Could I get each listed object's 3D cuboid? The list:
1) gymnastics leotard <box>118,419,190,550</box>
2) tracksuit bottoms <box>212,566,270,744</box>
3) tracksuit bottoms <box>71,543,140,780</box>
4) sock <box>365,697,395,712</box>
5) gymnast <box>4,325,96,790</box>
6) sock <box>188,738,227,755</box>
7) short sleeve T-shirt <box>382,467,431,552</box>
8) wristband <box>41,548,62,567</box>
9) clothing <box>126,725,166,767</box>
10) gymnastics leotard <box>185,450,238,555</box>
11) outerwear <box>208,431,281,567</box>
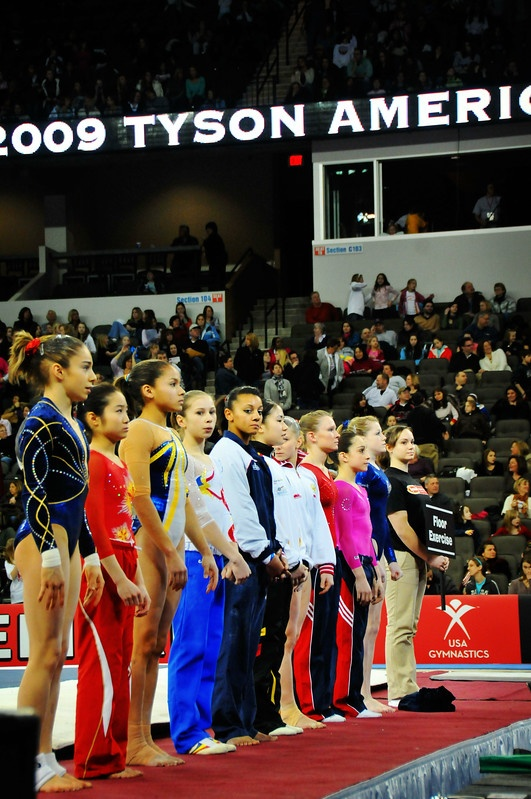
[{"bbox_3d":[-0.412,0.323,3.586,0.187,0.497,0.232,0,-10,14],"label":"gymnastics leotard"},{"bbox_3d":[-0.153,1.075,3.835,0.246,0.737,0.193,15,-23,-27],"label":"tracksuit bottoms"},{"bbox_3d":[-0.518,0.912,3.161,0.228,0.767,0.187,2,-21,-13],"label":"tracksuit bottoms"},{"bbox_3d":[0.644,1.754,5.063,0.174,0.113,0.064,-8,-4,26],"label":"sock"},{"bbox_3d":[-0.705,0.479,2.921,0.317,1.458,0.598,-1,-1,-10],"label":"gymnast"},{"bbox_3d":[-0.224,1.367,3.469,0.147,0.060,0.059,-7,-1,23],"label":"sock"},{"bbox_3d":[0.879,0.714,5.568,0.261,0.543,0.472,-8,-7,20],"label":"short sleeve T-shirt"},{"bbox_3d":[-0.669,0.492,2.773,0.055,0.057,0.057,-15,-10,38],"label":"wristband"},{"bbox_3d":[-0.408,1.296,3.286,0.198,0.158,0.077,-2,-6,19],"label":"clothing"},{"bbox_3d":[-0.263,0.444,3.931,0.160,0.439,0.222,-10,1,12],"label":"gymnastics leotard"},{"bbox_3d":[-0.087,0.437,4.043,0.254,0.559,0.392,-3,-1,11],"label":"outerwear"}]
